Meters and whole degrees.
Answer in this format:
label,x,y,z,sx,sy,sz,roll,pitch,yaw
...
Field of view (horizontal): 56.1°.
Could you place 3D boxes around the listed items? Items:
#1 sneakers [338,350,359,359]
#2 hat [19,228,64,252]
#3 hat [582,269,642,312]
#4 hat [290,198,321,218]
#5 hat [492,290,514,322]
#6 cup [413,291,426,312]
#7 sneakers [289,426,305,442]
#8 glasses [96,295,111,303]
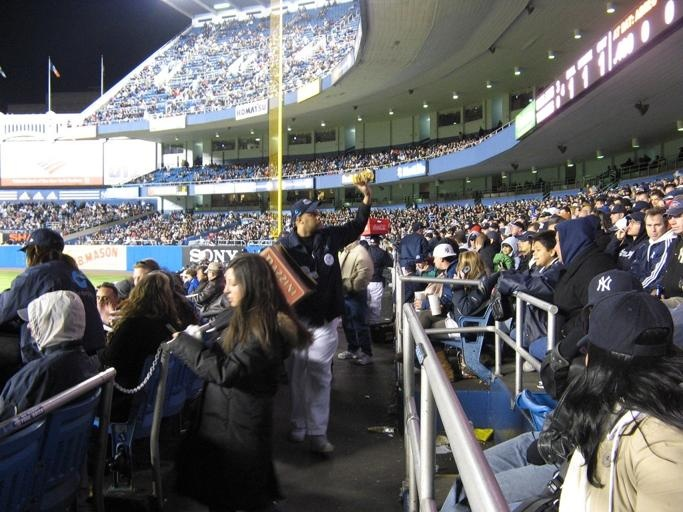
label,x,y,z,sx,sy,sz,roll,pitch,yaw
sneakers,0.099,1.189,7.681,0.243,0.109,0.093,6,-5,2
hat,-2.535,-0.143,5.481,0.268,0.161,0.201,12,4,14
hat,1.426,0.174,3.377,0.330,0.200,0.239,1,-4,-5
hat,-0.277,-0.380,5.276,0.205,0.107,0.140,-30,11,8
hat,1.434,0.432,5.671,0.145,0.204,0.283,4,-6,12
cup,0.888,0.498,7.178,0.172,0.181,0.176,1,-6,0
sneakers,-0.335,1.450,5.211,0.080,0.088,0.128,0,-23,-4
glasses,-2.466,0.458,6.773,0.080,0.056,0.106,2,-14,14
